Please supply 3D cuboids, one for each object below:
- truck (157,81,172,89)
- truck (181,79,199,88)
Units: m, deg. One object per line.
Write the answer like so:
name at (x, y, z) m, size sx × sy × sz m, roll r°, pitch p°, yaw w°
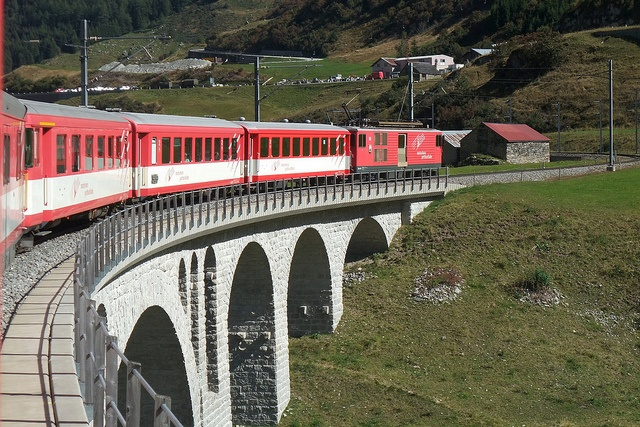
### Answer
truck at (-30.153, -24.698, 179.985) m, size 2.425 × 1.212 × 12.226 m, roll -2°, pitch 12°, yaw -9°
truck at (-25.221, -24.837, 177.798) m, size 1.840 × 1.500 × 4.882 m, roll -6°, pitch 13°, yaw -30°
